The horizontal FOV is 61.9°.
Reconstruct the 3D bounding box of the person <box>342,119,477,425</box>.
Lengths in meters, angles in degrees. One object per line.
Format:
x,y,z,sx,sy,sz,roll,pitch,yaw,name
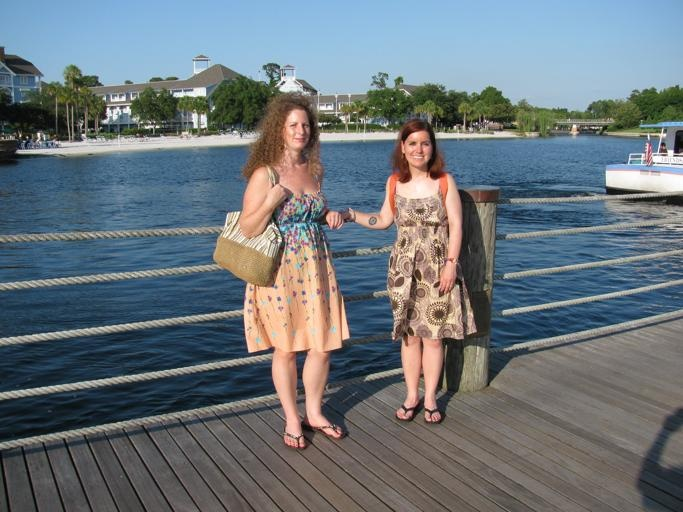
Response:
0.511,0.101,3.711,0.710,1.923,0.491,1,14,12,person

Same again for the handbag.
-0.549,-0.030,3.294,0.371,0.411,0.180,3,14,20,handbag

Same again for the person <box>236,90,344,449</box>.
-0.286,0.083,3.470,0.687,2.091,0.557,-10,15,-29,person
